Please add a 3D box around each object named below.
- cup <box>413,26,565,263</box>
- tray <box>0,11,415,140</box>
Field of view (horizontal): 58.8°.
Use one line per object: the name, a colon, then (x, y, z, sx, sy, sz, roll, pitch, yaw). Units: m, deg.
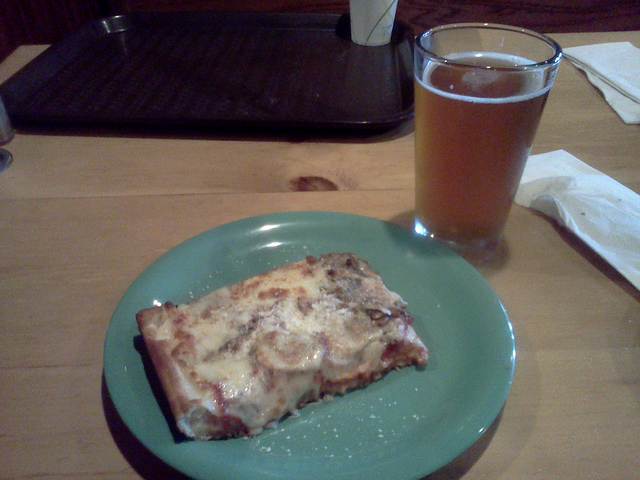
cup: (0.260, -0.156, 0.939, 0.233, 0.303, 0.296, 5, 54, 5)
tray: (-0.232, -0.442, 1.420, 0.964, 0.165, 0.598, 0, 54, 1)
